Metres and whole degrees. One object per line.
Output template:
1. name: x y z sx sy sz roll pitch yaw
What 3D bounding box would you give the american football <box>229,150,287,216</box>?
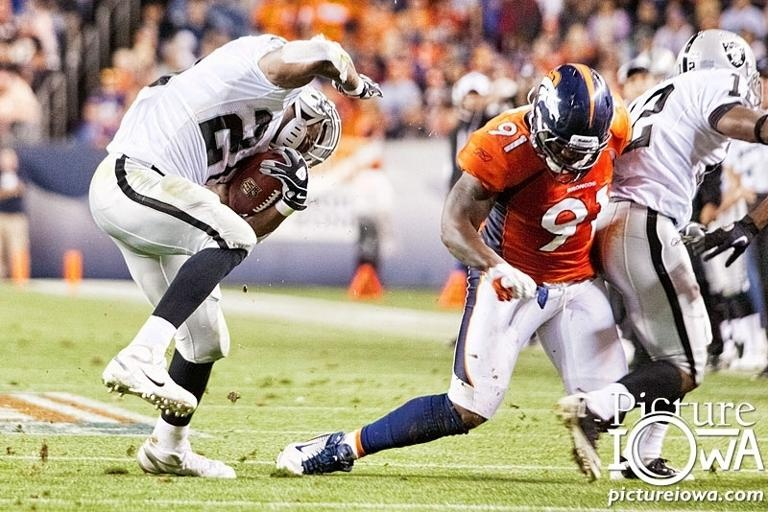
1. american football: -0.761 -0.386 5.890 0.231 0.382 0.288 52 -3 -25

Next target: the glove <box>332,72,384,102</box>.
1. glove: -0.175 -0.962 5.745 0.243 0.151 0.113 -4 16 -35

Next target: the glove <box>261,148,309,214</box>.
1. glove: -0.586 -0.435 5.841 0.273 0.394 0.168 0 9 -9

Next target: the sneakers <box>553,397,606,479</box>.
1. sneakers: 1.080 1.007 5.549 0.267 0.516 0.164 3 9 8

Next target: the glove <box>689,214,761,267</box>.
1. glove: 1.997 -0.065 5.878 0.232 0.430 0.126 59 7 32

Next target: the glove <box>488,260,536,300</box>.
1. glove: 0.704 0.163 5.451 0.221 0.098 0.223 38 2 33

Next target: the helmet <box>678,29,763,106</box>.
1. helmet: 2.042 -1.153 6.065 0.581 0.456 0.433 7 21 5
